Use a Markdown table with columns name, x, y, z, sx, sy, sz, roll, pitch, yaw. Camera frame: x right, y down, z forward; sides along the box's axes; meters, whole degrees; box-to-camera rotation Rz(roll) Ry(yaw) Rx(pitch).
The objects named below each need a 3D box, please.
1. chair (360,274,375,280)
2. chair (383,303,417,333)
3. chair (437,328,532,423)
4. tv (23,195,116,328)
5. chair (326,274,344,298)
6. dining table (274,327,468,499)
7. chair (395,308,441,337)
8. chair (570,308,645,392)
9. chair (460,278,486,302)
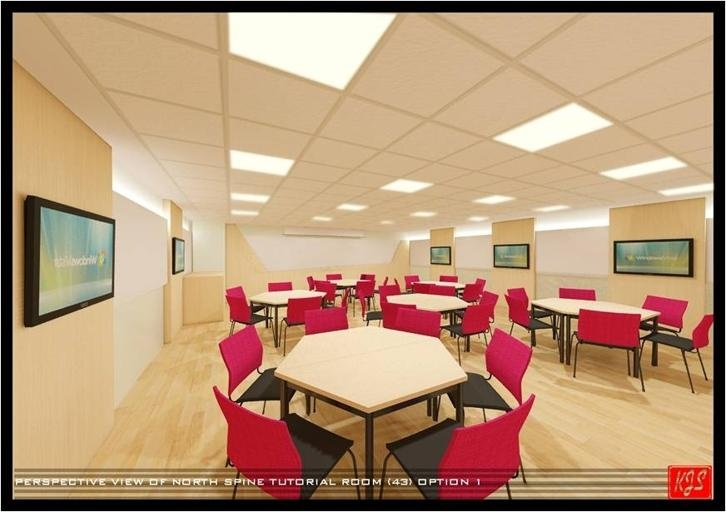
| name | x | y | z | sx | sy | sz | roll | pitch | yaw |
| --- | --- | --- | --- | --- | --- | --- | --- | --- | --- |
| chair | 0.076 | 0.490 | 10.977 | 0.192 | 0.124 | 0.198 | 0 | -1 | 42 |
| chair | 0.528 | 0.791 | 5.971 | 0.374 | 0.432 | 0.344 | 1 | 0 | -25 |
| chair | 1.100 | 1.284 | 4.402 | 0.730 | 1.055 | 0.692 | 2 | 10 | -6 |
| tv | -2.608 | 0.044 | 4.042 | 0.111 | 1.070 | 0.775 | 0 | -1 | 19 |
| chair | -0.727 | 0.580 | 11.121 | 0.320 | 0.430 | 0.277 | 1 | -3 | -27 |
| dining table | 0.050 | 1.171 | 4.144 | 1.471 | 0.640 | 1.387 | -2 | 5 | -31 |
| chair | 0.691 | 0.802 | 5.461 | 0.351 | 0.591 | 0.386 | -2 | -10 | 20 |
| chair | 3.049 | 1.102 | 5.529 | 0.860 | 0.818 | 0.646 | 0 | -1 | 8 |
| chair | 2.016 | 0.602 | 8.231 | 0.335 | 0.551 | 0.383 | -3 | 10 | -23 |
